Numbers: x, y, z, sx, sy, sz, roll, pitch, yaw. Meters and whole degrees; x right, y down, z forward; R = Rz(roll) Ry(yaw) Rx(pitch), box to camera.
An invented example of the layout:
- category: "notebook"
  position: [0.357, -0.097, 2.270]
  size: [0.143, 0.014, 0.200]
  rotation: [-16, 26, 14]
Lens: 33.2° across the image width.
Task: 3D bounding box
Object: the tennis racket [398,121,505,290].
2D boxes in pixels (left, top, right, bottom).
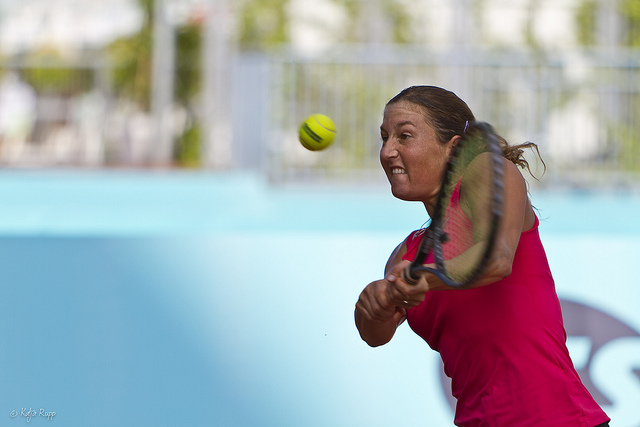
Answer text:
- category: "tennis racket"
  position: [0.749, -0.055, 5.781]
  size: [0.419, 0.872, 0.654]
  rotation: [2, 8, 19]

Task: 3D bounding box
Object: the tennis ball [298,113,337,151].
- category: "tennis ball"
  position: [-0.022, -0.572, 7.684]
  size: [0.239, 0.261, 0.198]
  rotation: [-6, 15, -16]
